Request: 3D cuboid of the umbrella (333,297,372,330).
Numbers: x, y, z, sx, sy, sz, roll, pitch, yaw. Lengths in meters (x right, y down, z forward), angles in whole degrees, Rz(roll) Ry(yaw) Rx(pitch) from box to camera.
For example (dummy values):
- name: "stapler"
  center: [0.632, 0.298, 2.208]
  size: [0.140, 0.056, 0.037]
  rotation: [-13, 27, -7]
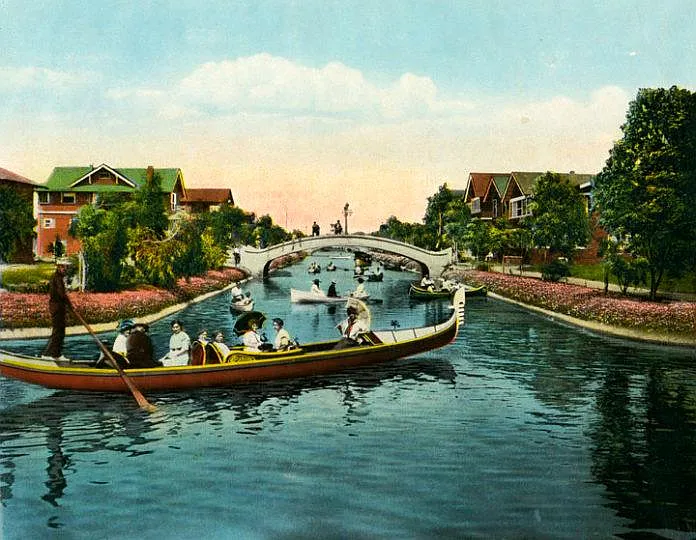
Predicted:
- name: "umbrella"
  center: [0.091, 1.945, 30.059]
  size: [1.795, 0.712, 1.326]
  rotation: [-27, 33, -36]

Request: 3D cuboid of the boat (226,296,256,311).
- name: "boat"
  center: [-6.513, 2.066, 40.454]
  size: [1.213, 0.950, 3.605]
  rotation: [-1, -3, -26]

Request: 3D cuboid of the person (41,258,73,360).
- name: "person"
  center: [-9.157, 1.203, 20.420]
  size: [0.768, 2.851, 1.396]
  rotation: [-2, 5, -24]

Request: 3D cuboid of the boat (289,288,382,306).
- name: "boat"
  center: [-1.001, 1.861, 46.874]
  size: [5.724, 0.901, 1.177]
  rotation: [3, 1, -21]
